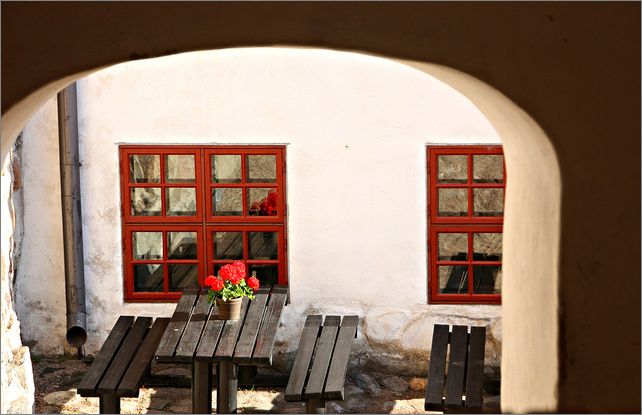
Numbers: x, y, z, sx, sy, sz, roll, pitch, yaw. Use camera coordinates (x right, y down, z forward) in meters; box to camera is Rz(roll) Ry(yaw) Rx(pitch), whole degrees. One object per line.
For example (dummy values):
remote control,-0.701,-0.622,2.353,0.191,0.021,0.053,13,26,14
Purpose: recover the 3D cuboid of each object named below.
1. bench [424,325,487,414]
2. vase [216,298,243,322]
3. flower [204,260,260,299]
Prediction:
bench,1.197,1.426,7.723,0.572,1.037,0.273,-1,-36,19
vase,-0.827,0.930,8.047,0.205,0.158,0.208,3,4,32
flower,-0.844,0.699,8.053,0.435,0.329,0.447,-5,9,-40
